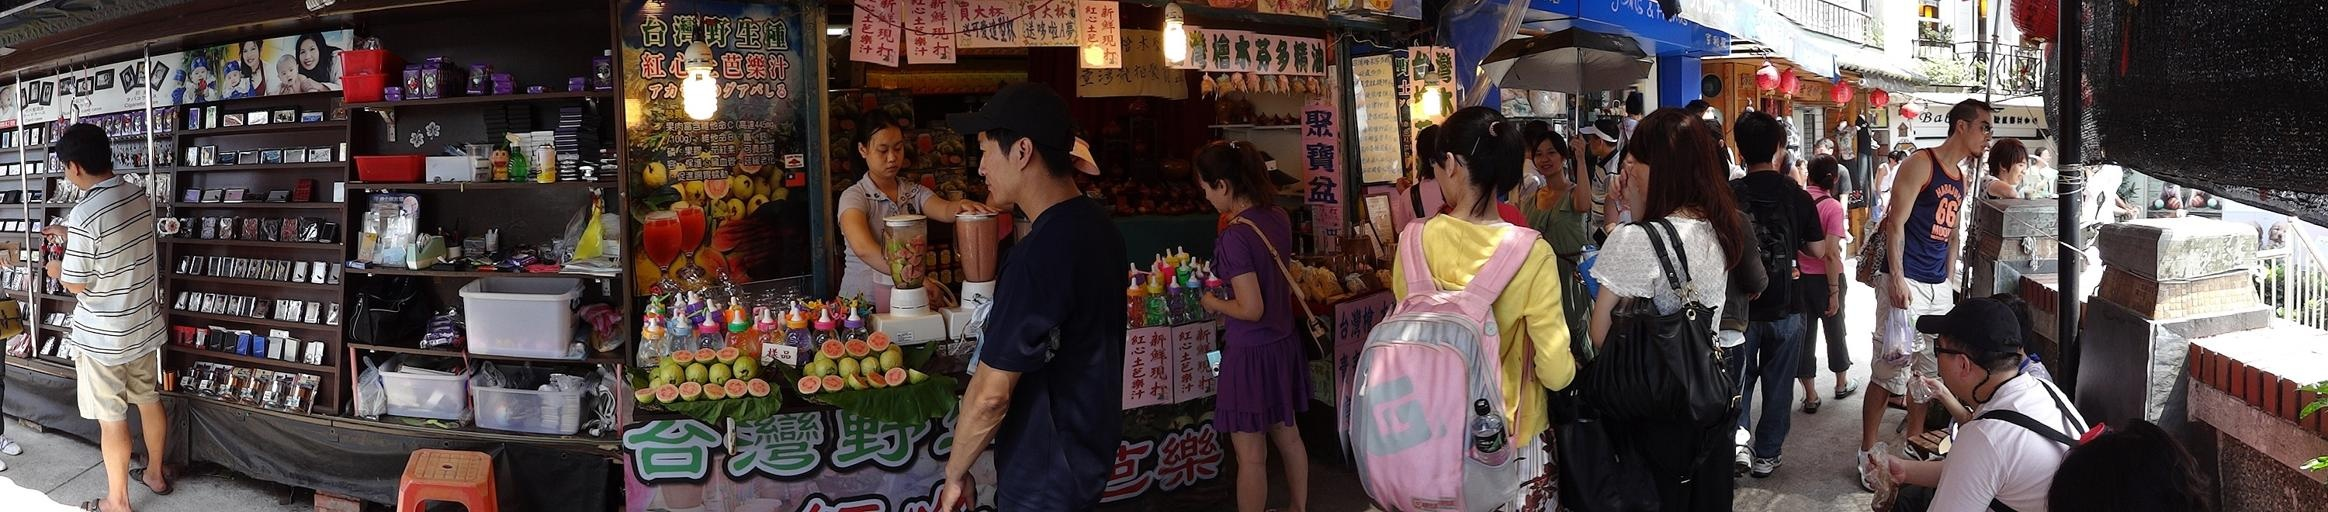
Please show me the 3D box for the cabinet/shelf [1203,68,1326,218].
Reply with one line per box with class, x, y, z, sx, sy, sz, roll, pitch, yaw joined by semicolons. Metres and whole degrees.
cabinet/shelf;3.448;-2.834;24.869;2.392;3.211;2.379;-11;0;-34
